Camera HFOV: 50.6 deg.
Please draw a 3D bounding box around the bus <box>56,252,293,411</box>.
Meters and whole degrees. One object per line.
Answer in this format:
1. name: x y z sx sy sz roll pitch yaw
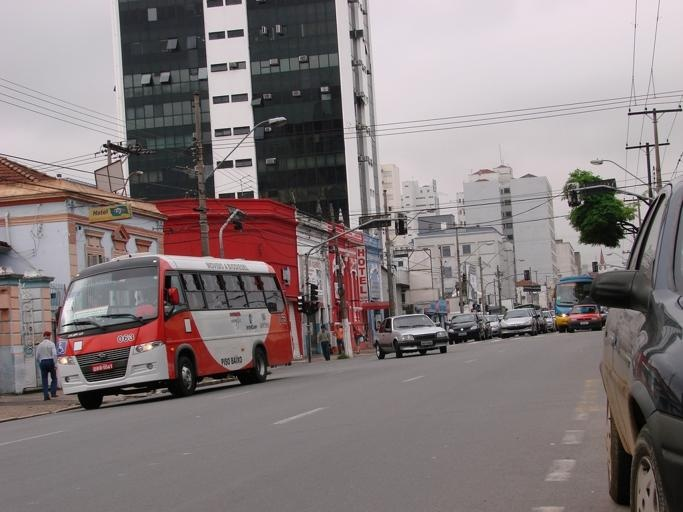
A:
1. bus: -4.767 2.220 24.016 3.340 4.446 9.707 -6 -6 27
